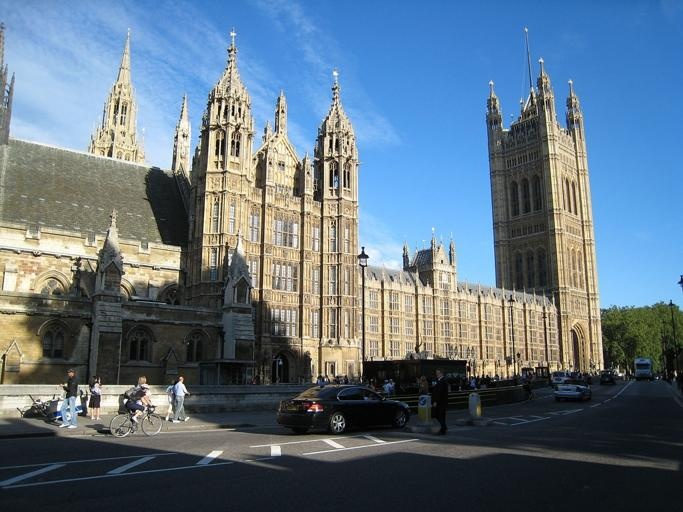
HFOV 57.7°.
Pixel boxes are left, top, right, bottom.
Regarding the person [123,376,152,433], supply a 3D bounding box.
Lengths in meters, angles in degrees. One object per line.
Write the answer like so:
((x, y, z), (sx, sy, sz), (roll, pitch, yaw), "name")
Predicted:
((-7.023, 5.203, 21.411), (0.686, 1.550, 0.883), (-5, -15, 16), "person")

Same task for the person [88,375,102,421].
((-10.129, 5.813, 25.513), (0.489, 1.765, 1.485), (5, -16, -20), "person")

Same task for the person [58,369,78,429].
((-10.020, 5.264, 23.015), (0.589, 2.168, 1.255), (6, -16, -22), "person")

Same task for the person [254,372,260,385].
((-6.422, 9.295, 47.457), (0.527, 1.035, 2.273), (2, -16, -7), "person")

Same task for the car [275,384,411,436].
((0.157, 5.448, 22.045), (4.396, 1.684, 1.117), (9, -17, -30), "car")

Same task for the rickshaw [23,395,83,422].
((-11.570, 6.064, 24.642), (1.994, 1.228, 1.045), (5, -28, -9), "rickshaw")
